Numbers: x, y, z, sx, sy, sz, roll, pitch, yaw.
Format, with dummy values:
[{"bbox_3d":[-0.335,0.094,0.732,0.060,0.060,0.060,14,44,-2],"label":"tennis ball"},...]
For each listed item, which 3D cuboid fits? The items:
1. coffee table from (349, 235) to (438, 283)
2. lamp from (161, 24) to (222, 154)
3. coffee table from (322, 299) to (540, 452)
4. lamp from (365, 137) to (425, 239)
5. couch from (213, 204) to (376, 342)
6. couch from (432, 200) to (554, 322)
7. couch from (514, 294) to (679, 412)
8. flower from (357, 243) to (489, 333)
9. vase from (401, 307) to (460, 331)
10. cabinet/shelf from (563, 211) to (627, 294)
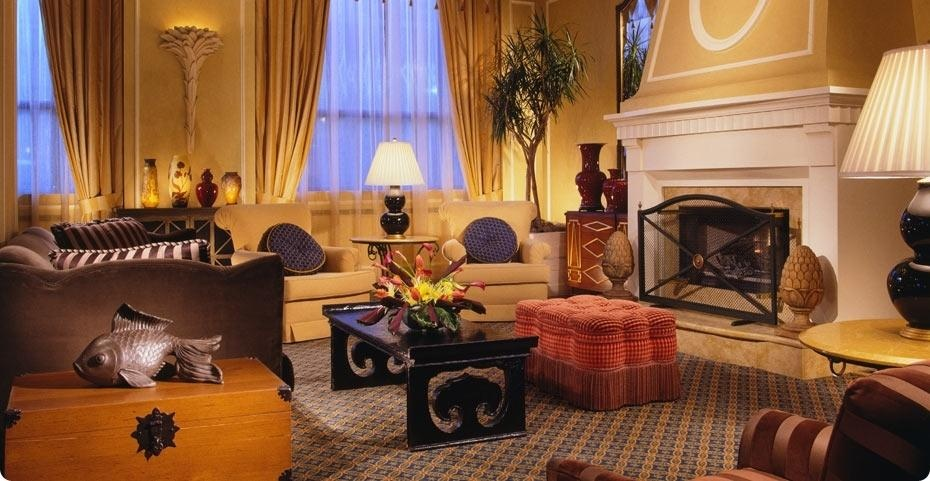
[{"bbox_3d":[-0.772,0.323,7.336,1.088,0.665,1.078,-2,-3,23],"label":"coffee table"},{"bbox_3d":[-3.200,-1.785,7.266,0.661,1.438,0.307,-8,16,-23],"label":"lamp"},{"bbox_3d":[-0.401,1.038,5.014,1.078,0.681,1.857,1,1,-32],"label":"coffee table"},{"bbox_3d":[-0.859,-0.634,7.241,0.644,1.105,0.708,-4,15,-12],"label":"lamp"},{"bbox_3d":[-1.865,0.283,6.641,1.512,1.233,1.280,8,7,31],"label":"couch"},{"bbox_3d":[0.322,0.198,7.190,1.256,1.300,1.258,-1,5,1],"label":"couch"},{"bbox_3d":[1.059,0.906,5.289,0.979,0.654,1.347,1,2,-29],"label":"couch"},{"bbox_3d":[-0.302,0.423,4.538,0.787,0.362,0.824,0,4,2],"label":"flower"},{"bbox_3d":[-0.223,0.564,4.373,0.258,0.093,0.223,-1,2,-22],"label":"vase"},{"bbox_3d":[1.539,0.169,7.598,1.068,0.966,0.343,4,-5,-34],"label":"cabinet/shelf"}]
